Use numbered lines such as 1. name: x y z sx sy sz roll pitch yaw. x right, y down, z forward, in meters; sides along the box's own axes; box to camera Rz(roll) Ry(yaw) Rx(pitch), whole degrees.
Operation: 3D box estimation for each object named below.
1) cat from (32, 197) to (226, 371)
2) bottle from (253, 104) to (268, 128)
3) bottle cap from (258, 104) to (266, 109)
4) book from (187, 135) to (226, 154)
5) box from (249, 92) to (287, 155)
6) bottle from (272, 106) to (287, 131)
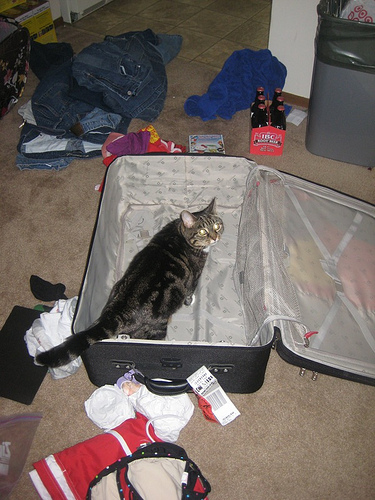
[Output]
1. cat: -0.202 0.138 1.577 0.181 0.285 0.667 29 70 22
2. bottle: 0.379 -0.697 2.113 0.072 0.148 0.077 -2 50 3
3. bottle cap: 0.372 -0.720 2.051 0.037 0.023 0.034 3 51 7
4. book: 0.105 -0.614 2.357 0.161 0.009 0.179 -1 54 -5
5. box: 0.447 -0.706 2.235 0.188 0.320 0.188 10 49 17
6. bottle: 0.484 -0.706 2.150 0.068 0.133 0.108 6 51 10
